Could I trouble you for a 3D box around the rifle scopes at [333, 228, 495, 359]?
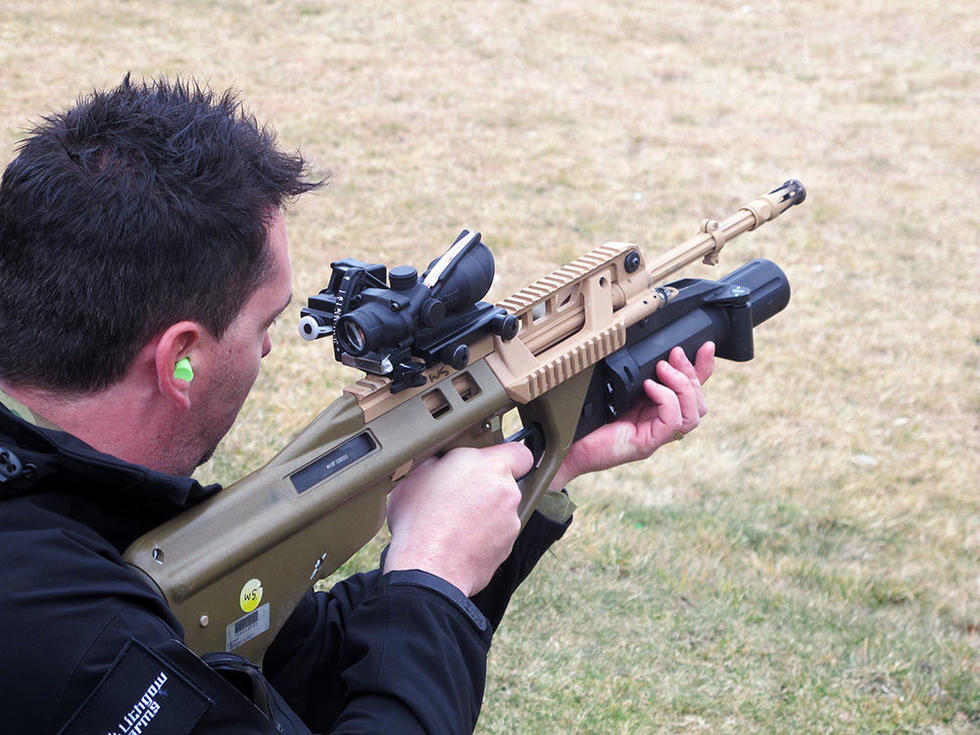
[{"bbox_3d":[-0.261,-0.349,5.731,0.348,0.404,0.884,19,37,34],"label":"rifle scopes"}]
